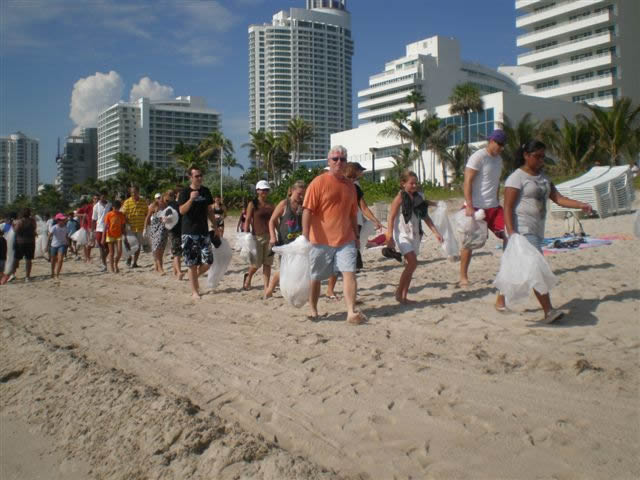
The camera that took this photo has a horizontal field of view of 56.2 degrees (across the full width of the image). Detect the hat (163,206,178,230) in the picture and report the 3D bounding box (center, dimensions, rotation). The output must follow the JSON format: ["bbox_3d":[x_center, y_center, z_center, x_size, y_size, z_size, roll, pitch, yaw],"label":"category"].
[{"bbox_3d":[-2.601,-0.379,10.354,0.192,0.304,0.336,18,-3,-15],"label":"hat"}]

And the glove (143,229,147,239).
[{"bbox_3d":[-4.092,-0.154,13.848,0.100,0.368,0.088,-3,-19,-16],"label":"glove"}]

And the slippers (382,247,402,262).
[{"bbox_3d":[1.065,0.242,8.628,0.377,0.157,0.153,20,1,-36],"label":"slippers"}]

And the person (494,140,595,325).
[{"bbox_3d":[2.610,-0.115,7.149,0.911,2.091,0.933,-3,5,-1],"label":"person"}]

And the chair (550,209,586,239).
[{"bbox_3d":[6.600,-0.408,15.881,0.578,0.957,0.841,3,19,35],"label":"chair"}]

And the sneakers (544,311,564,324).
[{"bbox_3d":[2.698,0.895,6.884,0.117,0.120,0.300,11,-9,-4],"label":"sneakers"}]

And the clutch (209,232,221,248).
[{"bbox_3d":[-1.733,0.000,9.784,0.163,0.246,0.070,-14,-17,-13],"label":"clutch"}]

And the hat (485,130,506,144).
[{"bbox_3d":[2.389,-1.399,8.065,0.186,0.161,0.280,3,1,-2],"label":"hat"}]

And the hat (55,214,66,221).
[{"bbox_3d":[-5.652,-0.483,12.940,0.186,0.114,0.278,5,1,-31],"label":"hat"}]
